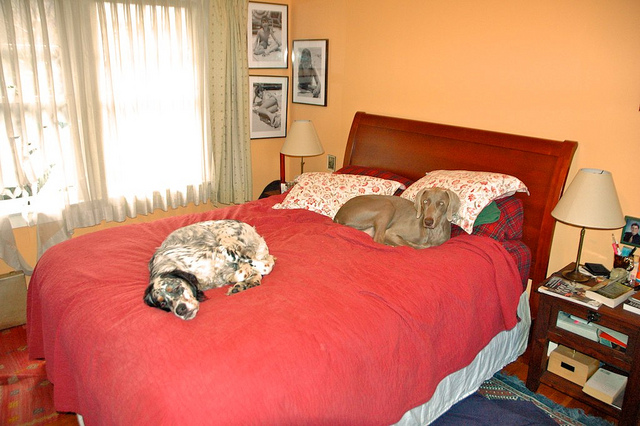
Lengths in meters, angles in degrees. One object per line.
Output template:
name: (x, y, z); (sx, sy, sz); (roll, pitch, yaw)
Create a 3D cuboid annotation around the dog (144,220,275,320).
dog: (-0.785, 0.334, 2.937); (0.857, 0.394, 0.608); (-16, 25, -41)

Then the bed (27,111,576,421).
bed: (-0.044, 0.418, 3.440); (3.790, 2.007, 2.167); (-11, 23, -33)

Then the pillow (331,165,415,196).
pillow: (0.575, -0.416, 4.500); (0.622, 0.158, 0.402); (24, 42, 29)

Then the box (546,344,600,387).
box: (1.989, 1.211, 3.399); (0.290, 0.180, 0.295); (21, 19, 35)

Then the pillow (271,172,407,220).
pillow: (0.153, -0.212, 4.120); (0.678, 0.169, 0.688); (14, 27, 28)

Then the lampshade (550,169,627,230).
lampshade: (2.059, -0.082, 3.332); (0.384, 0.497, 0.428); (11, 16, 5)

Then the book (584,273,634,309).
book: (2.170, 0.612, 3.228); (0.328, 0.108, 0.191); (-10, 22, -30)

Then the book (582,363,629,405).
book: (2.215, 1.334, 3.321); (0.326, 0.127, 0.193); (-12, 23, -35)

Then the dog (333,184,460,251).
dog: (0.624, 0.011, 3.676); (0.871, 0.424, 0.507); (3, 10, 26)

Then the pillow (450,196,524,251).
pillow: (1.534, 0.111, 3.655); (0.491, 0.244, 0.485); (-29, 43, -25)

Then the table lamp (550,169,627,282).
table lamp: (2.099, 0.104, 3.415); (0.523, 0.881, 0.520); (13, 17, 37)

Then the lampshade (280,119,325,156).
lampshade: (-0.237, -0.865, 5.030); (0.407, 0.427, 0.402); (-5, 19, -32)
